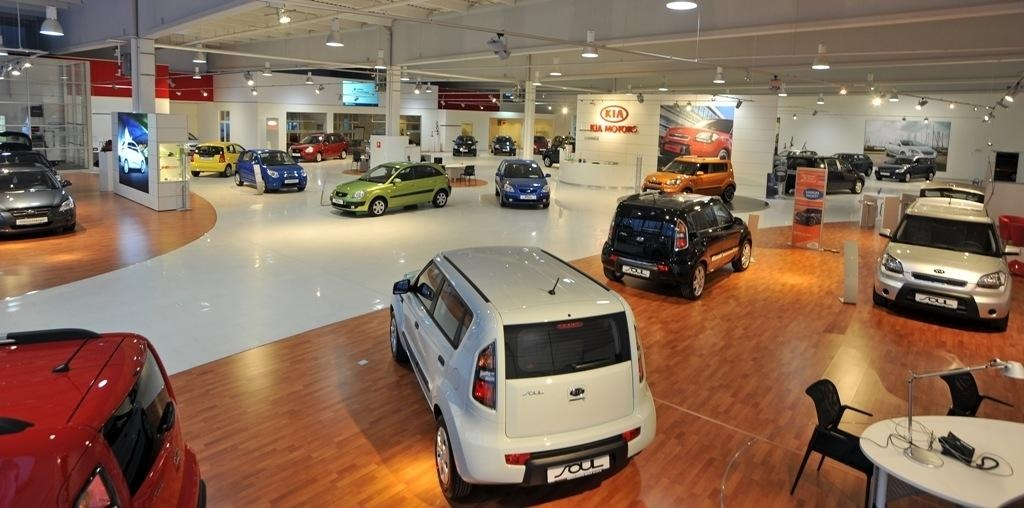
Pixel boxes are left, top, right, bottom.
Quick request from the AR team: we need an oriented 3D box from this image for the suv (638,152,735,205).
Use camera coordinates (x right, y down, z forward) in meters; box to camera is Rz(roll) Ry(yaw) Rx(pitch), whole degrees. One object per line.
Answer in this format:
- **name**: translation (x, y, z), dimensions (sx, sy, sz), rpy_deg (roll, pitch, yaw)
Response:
- **suv**: translation (7.571, -3.331, 23.819), dimensions (3.656, 1.628, 2.185), rpy_deg (-5, 12, -33)

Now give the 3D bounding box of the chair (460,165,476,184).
- **chair**: translation (-2.253, -4.168, 27.796), dimensions (0.669, 0.892, 2.131), rpy_deg (-1, 16, -5)

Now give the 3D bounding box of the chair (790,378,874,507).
- **chair**: translation (5.256, 3.057, 8.939), dimensions (1.080, 1.812, 0.915), rpy_deg (9, 18, 27)

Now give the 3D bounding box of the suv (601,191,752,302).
- **suv**: translation (4.566, -0.513, 14.984), dimensions (2.618, 2.188, 4.773), rpy_deg (13, 21, 40)

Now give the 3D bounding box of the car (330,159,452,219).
- **car**: translation (-4.604, -2.520, 20.624), dimensions (3.786, 1.382, 2.171), rpy_deg (-8, 16, -40)

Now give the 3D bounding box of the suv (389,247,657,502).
- **suv**: translation (0.210, 2.063, 9.036), dimensions (4.157, 3.513, 2.265), rpy_deg (5, 17, 15)
